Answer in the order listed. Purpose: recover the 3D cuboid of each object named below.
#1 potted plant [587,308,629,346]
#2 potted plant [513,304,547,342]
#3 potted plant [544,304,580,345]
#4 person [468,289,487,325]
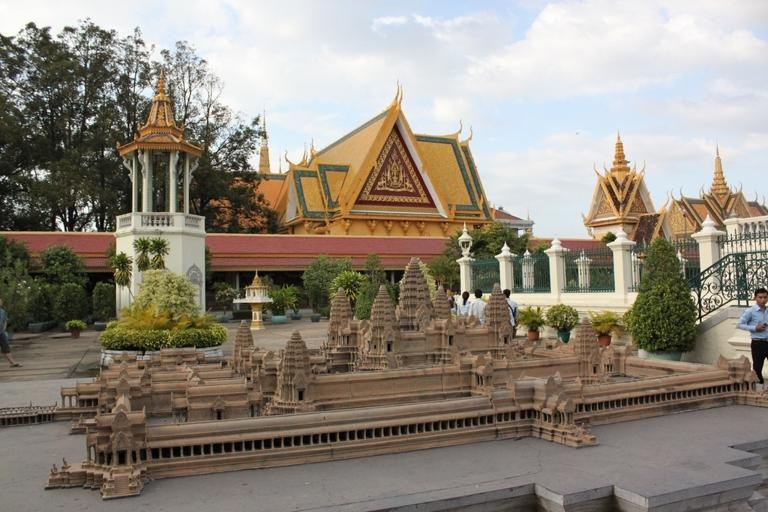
[{"bbox_3d":[5.692,1.854,22.281,0.773,0.800,0.771,0,-7,20],"label":"potted plant"},{"bbox_3d":[4.278,1.945,24.560,0.742,0.766,0.740,-4,-12,25],"label":"potted plant"},{"bbox_3d":[4.880,1.881,23.741,0.906,0.908,0.903,-5,-4,-15],"label":"potted plant"},{"bbox_3d":[2.243,1.187,20.874,0.416,0.805,1.317,-2,-4,6],"label":"person"}]
